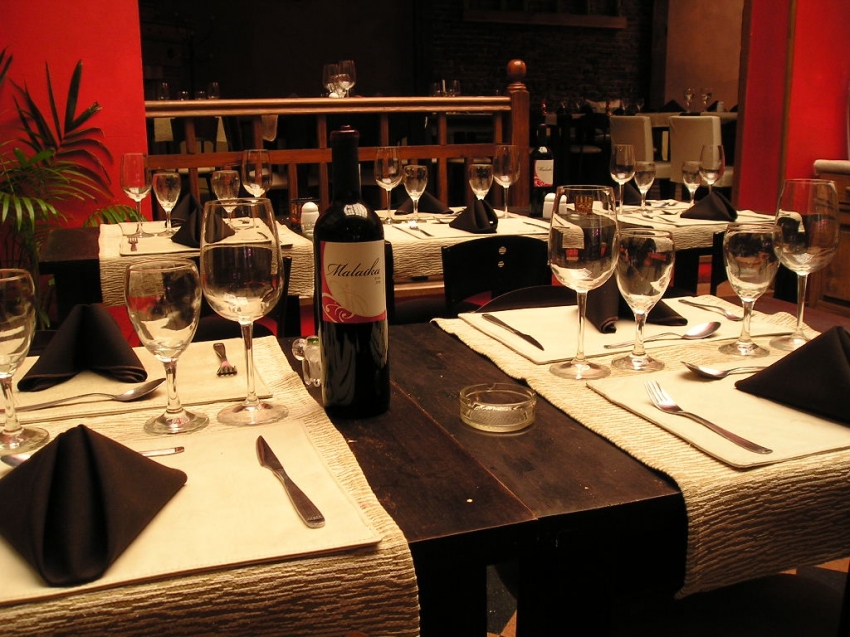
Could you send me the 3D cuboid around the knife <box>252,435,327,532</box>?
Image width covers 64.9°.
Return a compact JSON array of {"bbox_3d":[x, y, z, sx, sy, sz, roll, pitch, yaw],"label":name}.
[{"bbox_3d":[-0.155,0.150,0.738,0.037,0.012,0.234,-3,18,-19],"label":"knife"}]
